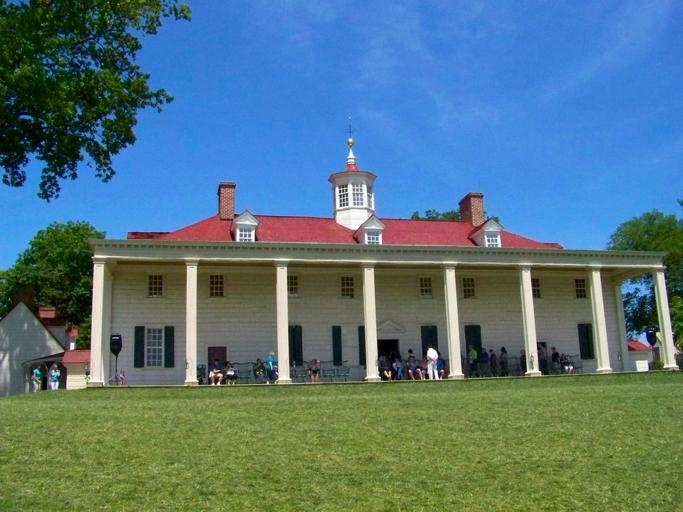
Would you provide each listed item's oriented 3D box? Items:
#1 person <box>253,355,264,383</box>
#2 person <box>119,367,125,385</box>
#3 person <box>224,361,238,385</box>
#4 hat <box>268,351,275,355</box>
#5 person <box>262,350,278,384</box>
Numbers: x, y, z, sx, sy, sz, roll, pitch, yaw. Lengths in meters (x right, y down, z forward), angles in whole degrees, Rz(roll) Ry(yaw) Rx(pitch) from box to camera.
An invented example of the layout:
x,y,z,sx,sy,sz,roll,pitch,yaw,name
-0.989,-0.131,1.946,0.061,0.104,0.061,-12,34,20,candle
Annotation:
x,y,z,sx,sy,sz,roll,pitch,yaw,name
-3.981,5.503,29.453,0.550,1.093,1.113,1,-3,-8,person
-10.220,5.618,28.535,0.279,0.708,0.871,2,-4,-20,person
-5.171,5.421,28.442,0.588,0.925,1.889,1,-4,-10,person
-3.448,4.755,30.002,0.241,0.289,0.303,1,-9,-1,hat
-3.384,5.297,28.878,0.643,1.407,2.175,1,-3,-7,person
